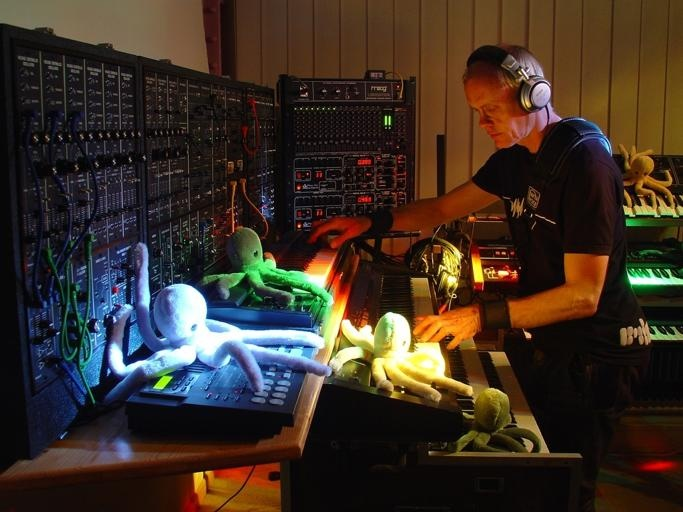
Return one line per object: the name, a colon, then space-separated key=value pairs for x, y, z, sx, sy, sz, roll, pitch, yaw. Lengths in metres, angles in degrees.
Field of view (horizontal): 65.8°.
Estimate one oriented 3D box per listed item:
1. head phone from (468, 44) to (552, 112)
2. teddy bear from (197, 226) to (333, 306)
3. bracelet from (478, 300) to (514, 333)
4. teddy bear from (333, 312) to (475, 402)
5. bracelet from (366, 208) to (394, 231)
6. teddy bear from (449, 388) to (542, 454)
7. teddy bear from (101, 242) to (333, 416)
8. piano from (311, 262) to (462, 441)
head phone: x=0.593 y=-0.626 z=1.868 sx=0.291 sy=0.226 sz=0.150 roll=6 pitch=12 yaw=16
teddy bear: x=-0.225 y=0.030 z=1.741 sx=0.442 sy=0.206 sz=0.363 roll=11 pitch=18 yaw=34
bracelet: x=0.532 y=0.206 z=1.853 sx=0.101 sy=0.135 sz=0.093 roll=-6 pitch=9 yaw=1
teddy bear: x=0.165 y=0.297 z=1.744 sx=0.386 sy=0.178 sz=0.440 roll=6 pitch=17 yaw=-4
bracelet: x=0.188 y=-0.165 z=2.566 sx=0.102 sy=0.113 sz=0.099 roll=14 pitch=18 yaw=15
teddy bear: x=0.485 y=0.578 z=1.800 sx=0.348 sy=0.210 sz=0.333 roll=6 pitch=-17 yaw=-25
teddy bear: x=-0.340 y=0.191 z=1.414 sx=0.529 sy=0.349 sz=0.371 roll=9 pitch=13 yaw=15
piano: x=0.171 y=0.267 z=1.940 sx=0.400 sy=0.237 sz=0.789 roll=-2 pitch=29 yaw=14
